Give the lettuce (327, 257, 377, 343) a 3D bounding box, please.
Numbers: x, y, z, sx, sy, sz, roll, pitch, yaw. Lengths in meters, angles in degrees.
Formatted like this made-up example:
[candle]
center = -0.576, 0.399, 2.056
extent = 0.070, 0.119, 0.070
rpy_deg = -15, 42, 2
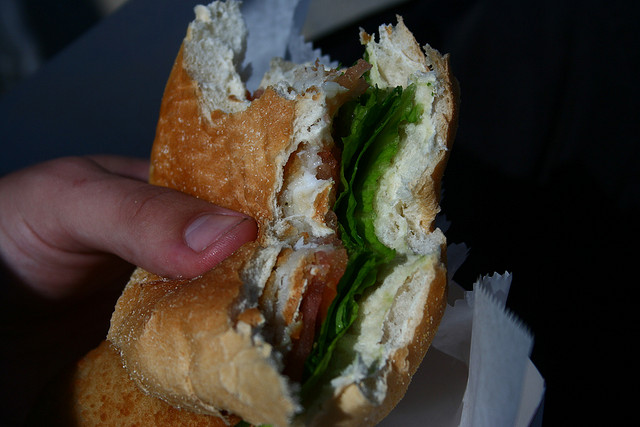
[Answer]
[lettuce]
center = 0.144, 0.458, 3.289
extent = 0.132, 0.053, 0.567
rpy_deg = 14, 74, 43
